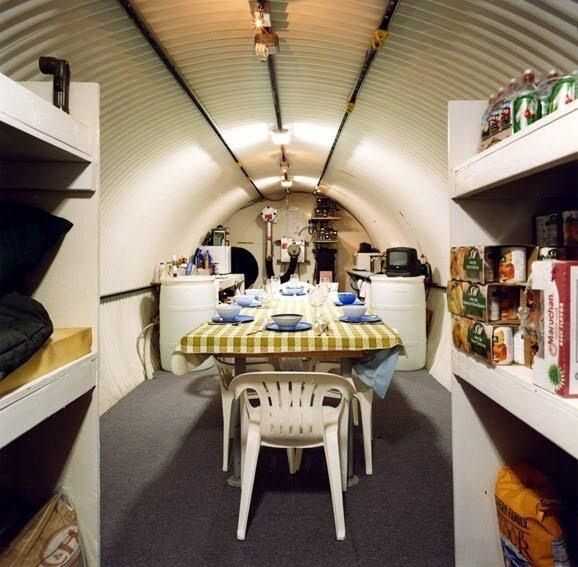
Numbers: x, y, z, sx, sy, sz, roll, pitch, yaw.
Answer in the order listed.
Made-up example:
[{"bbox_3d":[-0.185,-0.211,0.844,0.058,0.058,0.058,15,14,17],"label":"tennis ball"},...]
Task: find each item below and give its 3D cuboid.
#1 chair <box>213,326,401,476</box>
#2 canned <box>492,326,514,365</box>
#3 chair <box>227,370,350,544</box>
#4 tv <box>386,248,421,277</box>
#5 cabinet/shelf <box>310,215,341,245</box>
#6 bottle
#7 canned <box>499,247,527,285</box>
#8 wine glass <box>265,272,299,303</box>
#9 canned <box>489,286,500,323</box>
[{"bbox_3d":[0.017,0.758,3.026,0.725,0.726,0.844,0,-1,-1],"label":"chair"},{"bbox_3d":[0.783,0.226,1.604,0.106,0.134,0.038,-3,5,-26],"label":"canned"},{"bbox_3d":[0.034,0.806,2.508,0.628,1.169,0.750,0,10,2],"label":"chair"},{"bbox_3d":[1.307,-0.214,5.011,0.279,0.372,0.329,-3,-4,38],"label":"tv"},{"bbox_3d":[0.713,-1.095,9.161,0.581,0.753,0.499,1,15,7],"label":"cabinet/shelf"},{"bbox_3d":[0.862,-0.672,1.697,0.213,0.243,0.324,-5,8,-42],"label":"bottle"},{"bbox_3d":[0.872,-0.063,1.704,0.100,0.218,0.120,2,0,21],"label":"canned"},{"bbox_3d":[-0.080,0.045,5.180,0.221,0.397,0.879,-1,3,8],"label":"wine glass"},{"bbox_3d":[0.760,0.080,1.631,0.030,0.123,0.098,-1,10,5],"label":"canned"}]
